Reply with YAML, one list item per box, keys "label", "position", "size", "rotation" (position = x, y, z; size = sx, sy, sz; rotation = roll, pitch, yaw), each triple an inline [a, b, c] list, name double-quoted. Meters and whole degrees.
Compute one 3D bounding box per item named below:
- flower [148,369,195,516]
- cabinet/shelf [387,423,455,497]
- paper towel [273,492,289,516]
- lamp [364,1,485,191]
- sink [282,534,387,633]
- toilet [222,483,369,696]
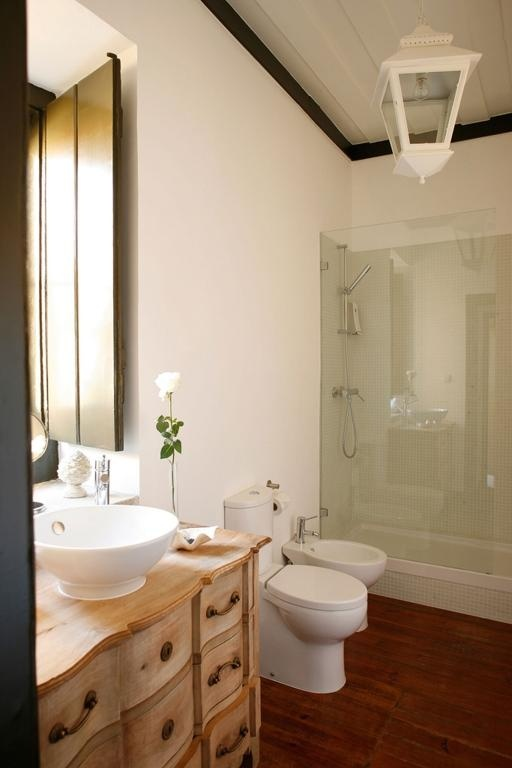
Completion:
- label: "flower"
  position: [-0.247, 0.176, 1.666]
  size: [0.082, 0.422, 0.413]
  rotation: [0, 0, -7]
- label: "cabinet/shelf"
  position: [0.787, 0.385, 2.842]
  size: [0.268, 0.294, 0.278]
  rotation: [6, -4, -27]
- label: "paper towel"
  position: [0.101, 0.494, 2.452]
  size: [0.078, 0.095, 0.093]
  rotation: [-7, -41, 10]
- label: "lamp"
  position: [0.442, -0.821, 1.567]
  size: [0.237, 0.490, 0.284]
  rotation: [0, 0, -3]
- label: "sink"
  position: [0.340, 0.835, 2.608]
  size: [0.426, 0.331, 0.292]
  rotation: [3, 8, 31]
- label: "toilet"
  position: [0.155, 0.754, 2.168]
  size: [0.517, 0.657, 0.300]
  rotation: [1, 3, 30]
